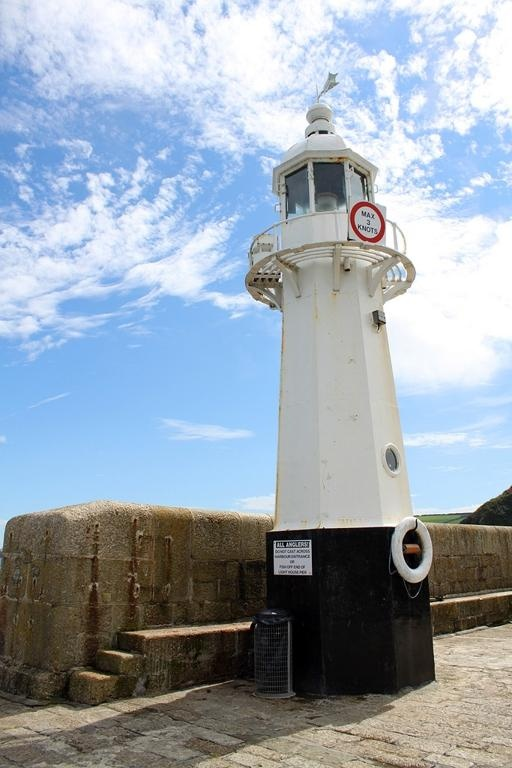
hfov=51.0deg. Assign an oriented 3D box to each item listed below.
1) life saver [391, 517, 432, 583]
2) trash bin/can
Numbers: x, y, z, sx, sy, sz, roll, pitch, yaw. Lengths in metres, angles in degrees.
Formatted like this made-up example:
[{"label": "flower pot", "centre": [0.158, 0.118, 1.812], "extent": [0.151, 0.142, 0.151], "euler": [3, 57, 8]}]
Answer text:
[{"label": "life saver", "centre": [1.872, 2.030, 6.414], "extent": [0.211, 0.780, 0.731], "euler": [-11, 4, 33]}, {"label": "trash bin/can", "centre": [0.179, 2.983, 6.014], "extent": [0.527, 0.847, 0.517], "euler": [1, -14, -3]}]
